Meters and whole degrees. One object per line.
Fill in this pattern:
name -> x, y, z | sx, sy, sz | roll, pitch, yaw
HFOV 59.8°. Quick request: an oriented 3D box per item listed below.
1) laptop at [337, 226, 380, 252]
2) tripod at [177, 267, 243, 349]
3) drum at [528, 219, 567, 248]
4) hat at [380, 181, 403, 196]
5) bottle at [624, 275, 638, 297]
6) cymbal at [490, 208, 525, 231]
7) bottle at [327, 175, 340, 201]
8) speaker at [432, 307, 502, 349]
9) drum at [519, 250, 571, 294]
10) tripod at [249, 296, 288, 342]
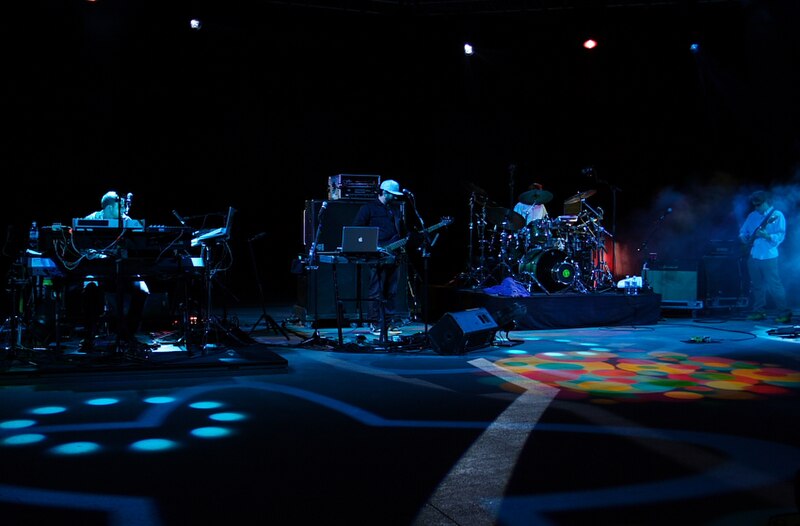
laptop -> -0.528, -0.290, 8.806 | 0.470, 0.271, 0.315 | 1, 4, -8
tripod -> -2.493, 0.514, 9.037 | 0.692, 1.240, 2.079 | -4, 15, -18
drum -> 2.481, -0.452, 11.819 | 0.574, 0.309, 0.547 | -2, -8, 0
hat -> -0.115, -1.055, 9.768 | 0.355, 0.173, 0.254 | 16, 13, 23
bottle -> 3.890, 0.407, 11.821 | 0.327, 0.397, 0.154 | 0, -7, 0
cymbal -> 1.816, -0.756, 11.934 | 0.606, 0.423, 0.392 | 3, 15, 8
bottle -> -1.116, -1.270, 11.679 | 0.185, 0.382, 0.661 | -1, 14, -8
speaker -> 0.810, 0.831, 8.937 | 0.815, 0.478, 0.567 | -1, 2, -43
drum -> 2.372, 0.118, 11.435 | 0.675, 0.591, 0.753 | 12, 3, -14
tripod -> -2.188, 0.950, 11.593 | 0.623, 0.452, 0.759 | -3, -21, -5
